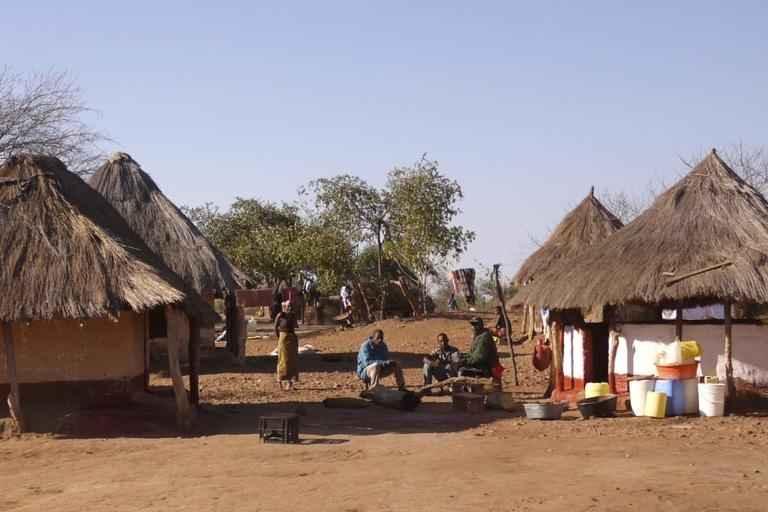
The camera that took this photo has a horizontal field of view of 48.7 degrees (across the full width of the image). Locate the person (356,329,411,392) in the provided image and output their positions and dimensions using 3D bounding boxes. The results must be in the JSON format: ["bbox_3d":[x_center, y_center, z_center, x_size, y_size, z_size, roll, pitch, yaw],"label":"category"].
[{"bbox_3d":[-0.059,2.327,18.399,0.962,1.318,1.026,-1,-6,-26],"label":"person"}]

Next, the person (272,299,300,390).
[{"bbox_3d":[-2.206,2.035,19.288,0.491,1.994,1.313,-1,-7,-8],"label":"person"}]

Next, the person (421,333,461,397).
[{"bbox_3d":[1.245,2.321,18.466,0.797,1.184,0.820,-2,-11,12],"label":"person"}]

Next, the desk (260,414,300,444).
[{"bbox_3d":[-1.734,2.867,14.083,0.645,0.470,0.455,0,-8,-11],"label":"desk"}]

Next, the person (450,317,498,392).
[{"bbox_3d":[2.113,2.086,18.681,1.408,2.002,0.996,1,-4,6],"label":"person"}]

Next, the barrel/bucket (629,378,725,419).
[{"bbox_3d":[5.288,2.554,15.341,1.615,0.712,0.514,-4,-8,17],"label":"barrel/bucket"}]

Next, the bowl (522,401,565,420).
[{"bbox_3d":[2.945,2.863,15.589,0.694,0.298,0.336,-2,-8,1],"label":"bowl"}]

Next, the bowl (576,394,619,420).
[{"bbox_3d":[3.916,2.778,15.615,0.735,0.411,0.363,-2,-8,0],"label":"bowl"}]

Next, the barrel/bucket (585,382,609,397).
[{"bbox_3d":[4.021,2.538,16.123,0.321,0.250,0.319,0,-10,0],"label":"barrel/bucket"}]
